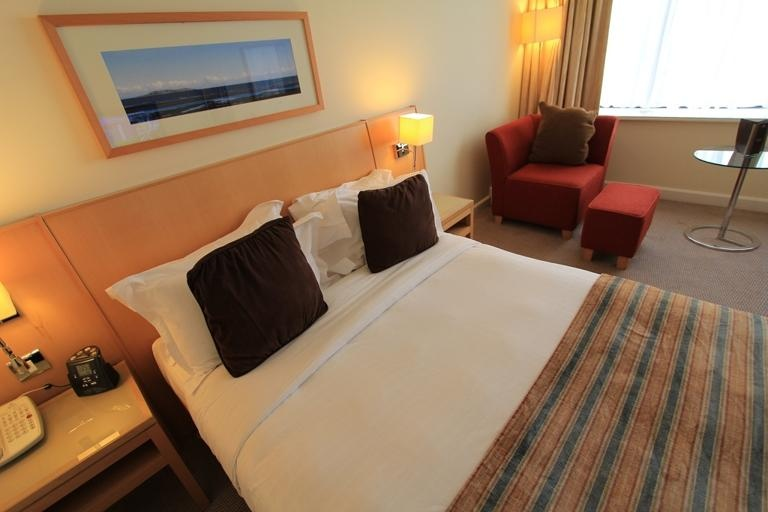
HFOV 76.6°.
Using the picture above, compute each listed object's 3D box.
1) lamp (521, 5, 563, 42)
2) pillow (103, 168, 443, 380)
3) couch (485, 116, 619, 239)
[{"bbox_3d":[1.572,-2.331,4.925,0.434,0.329,0.161,13,34,28],"label":"lamp"},{"bbox_3d":[-0.723,0.144,2.956,0.284,0.510,1.255,22,41,39],"label":"pillow"},{"bbox_3d":[1.571,-0.776,4.933,1.142,1.177,1.157,15,45,28],"label":"couch"}]
